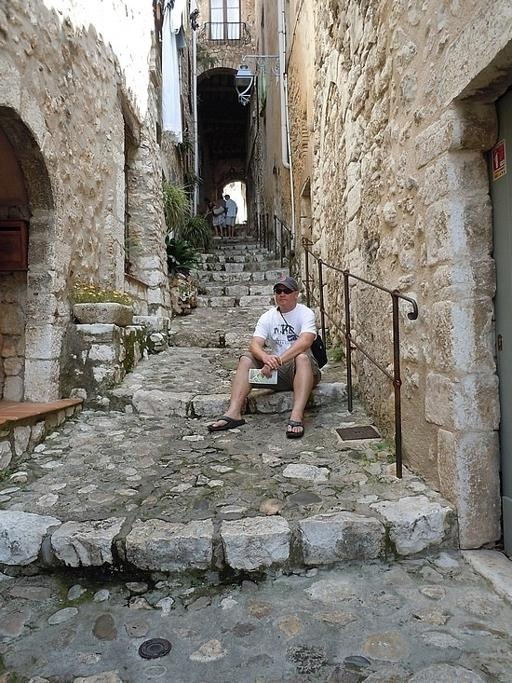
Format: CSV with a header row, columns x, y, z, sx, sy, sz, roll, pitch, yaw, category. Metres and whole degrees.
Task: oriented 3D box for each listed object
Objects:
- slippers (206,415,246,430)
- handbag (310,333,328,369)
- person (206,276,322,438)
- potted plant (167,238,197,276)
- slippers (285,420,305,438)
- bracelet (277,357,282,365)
x,y,z,sx,sy,sz,roll,pitch,yaw,category
-0.188,0.510,3.091,0.237,0.084,0.088,2,-6,-39,slippers
0.421,0.076,3.267,0.110,0.250,0.181,-6,26,-2,handbag
0.092,0.081,3.102,0.558,0.920,0.609,2,11,20,person
-1.112,-1.225,7.161,0.306,0.546,0.633,6,13,34,potted plant
0.229,0.526,2.848,0.102,0.091,0.097,0,11,7,slippers
0.146,0.128,3.013,0.029,0.043,0.028,-1,11,3,bracelet
